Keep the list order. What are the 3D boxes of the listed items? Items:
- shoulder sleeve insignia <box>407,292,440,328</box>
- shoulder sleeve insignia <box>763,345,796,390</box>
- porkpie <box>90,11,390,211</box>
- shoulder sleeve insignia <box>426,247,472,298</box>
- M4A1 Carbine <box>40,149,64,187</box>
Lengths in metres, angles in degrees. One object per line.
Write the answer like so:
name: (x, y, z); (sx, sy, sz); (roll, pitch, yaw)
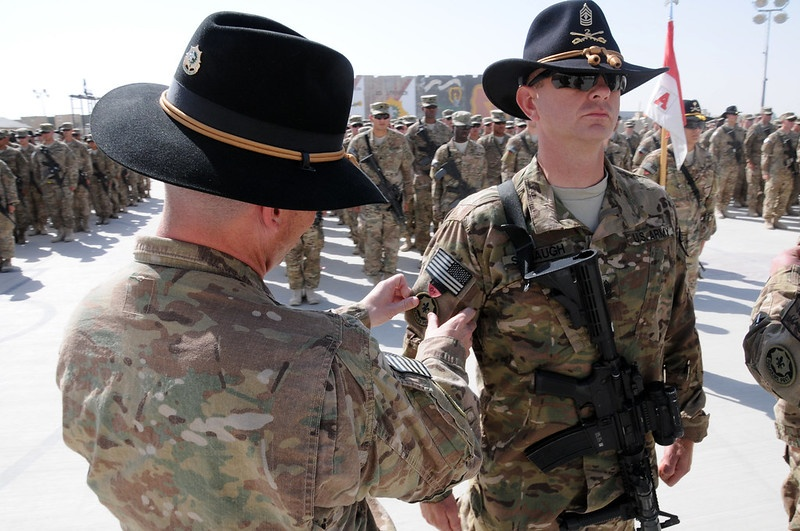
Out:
shoulder sleeve insignia: (0.134, 0.266, 4.827); (0.217, 0.169, 0.049); (2, 3, 33)
shoulder sleeve insignia: (2.308, 0.611, 4.986); (0.036, 0.221, 0.227); (-5, 37, -36)
porkpie: (-0.751, -0.864, 4.264); (1.523, 0.704, 1.218); (-2, 39, -21)
shoulder sleeve insignia: (0.282, 0.026, 4.845); (0.335, 0.221, 0.084); (-1, -14, -43)
M4A1 Carbine: (-6.159, -1.744, 14.595); (0.356, 0.671, 0.127); (-26, 7, 11)
